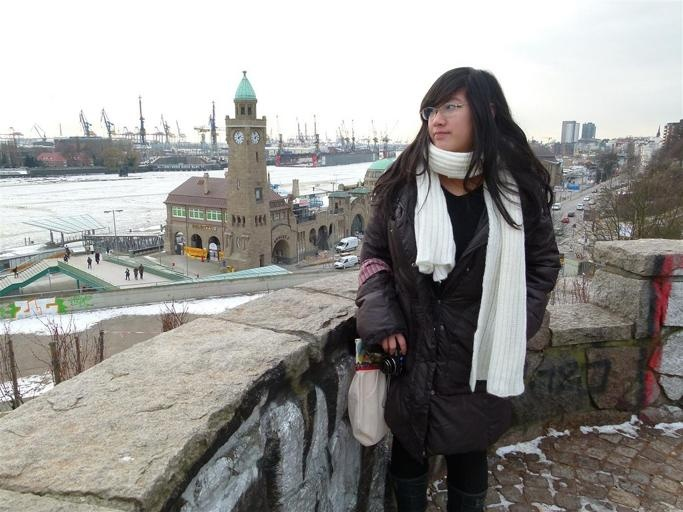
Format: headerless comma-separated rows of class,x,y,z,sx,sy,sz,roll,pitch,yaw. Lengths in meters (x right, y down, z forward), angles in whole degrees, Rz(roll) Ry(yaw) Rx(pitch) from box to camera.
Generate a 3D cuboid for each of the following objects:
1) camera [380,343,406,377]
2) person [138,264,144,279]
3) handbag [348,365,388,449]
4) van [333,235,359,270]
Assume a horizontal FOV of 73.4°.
camera,0.205,0.439,1.858,0.101,0.170,0.082,-12,18,-39
person,-12.926,1.000,29.465,0.236,0.758,0.936,-6,15,-20
handbag,0.110,0.602,1.880,0.164,0.299,0.135,-1,14,0
van,0.419,-0.470,40.508,1.295,1.872,3.608,1,4,23
